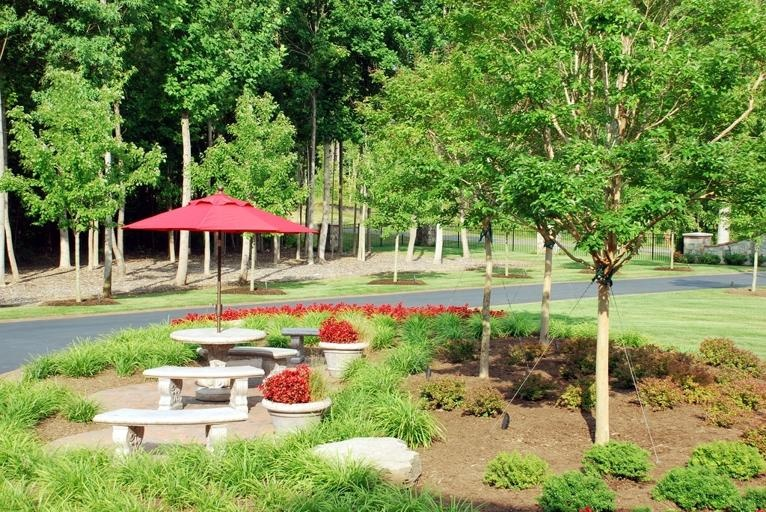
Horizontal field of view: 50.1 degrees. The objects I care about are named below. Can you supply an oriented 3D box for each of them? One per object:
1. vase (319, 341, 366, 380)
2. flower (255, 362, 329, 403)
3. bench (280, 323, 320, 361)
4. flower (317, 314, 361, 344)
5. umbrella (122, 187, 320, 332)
[{"bbox_3d":[-1.041,2.678,20.518,1.124,0.786,1.127,-2,-13,19],"label":"vase"},{"bbox_3d":[-1.799,2.625,16.815,0.932,0.559,0.913,5,-6,-36],"label":"flower"},{"bbox_3d":[-2.217,2.291,21.505,0.822,0.776,0.314,1,9,10],"label":"bench"},{"bbox_3d":[-1.173,1.824,20.462,0.672,0.546,0.791,2,3,-11],"label":"flower"},{"bbox_3d":[-4.147,-0.123,19.502,3.927,2.846,3.743,-2,6,-43],"label":"umbrella"}]
